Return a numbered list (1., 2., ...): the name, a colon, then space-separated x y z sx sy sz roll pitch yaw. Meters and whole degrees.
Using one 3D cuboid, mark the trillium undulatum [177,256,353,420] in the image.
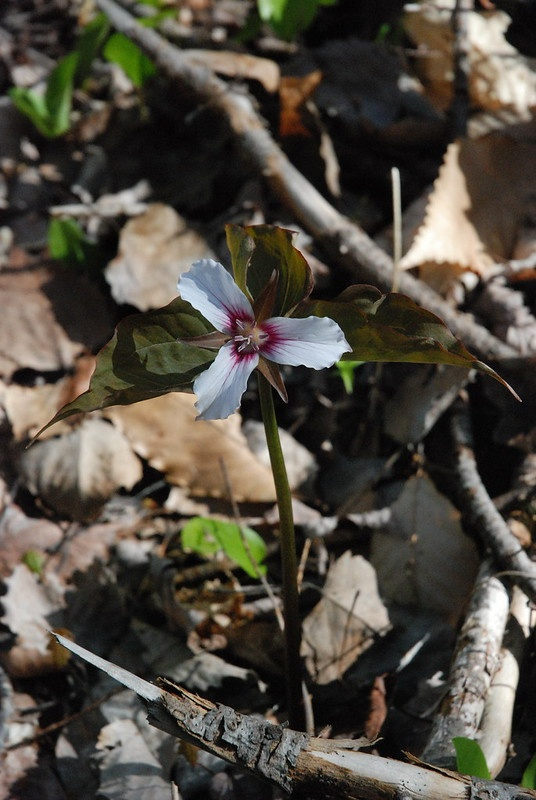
1. trillium undulatum: -0.050 -0.153 1.764 0.332 0.206 0.297 -20 49 -21
